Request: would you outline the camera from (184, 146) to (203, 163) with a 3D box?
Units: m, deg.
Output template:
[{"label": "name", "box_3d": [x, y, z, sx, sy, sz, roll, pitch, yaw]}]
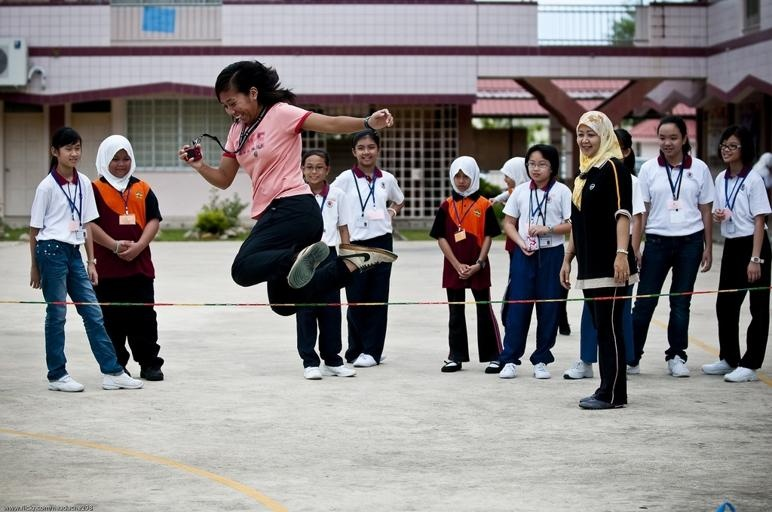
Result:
[{"label": "camera", "box_3d": [-1.889, -0.998, 12.274, 0.187, 0.141, 0.070, 4, 5, -12]}]

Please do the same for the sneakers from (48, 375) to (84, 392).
[{"label": "sneakers", "box_3d": [-3.234, 1.291, 12.747, 0.395, 0.126, 0.142, 0, 1, 5]}]

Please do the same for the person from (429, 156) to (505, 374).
[{"label": "person", "box_3d": [0.874, 0.084, 13.628, 0.777, 2.298, 0.925, 0, 13, -2]}]

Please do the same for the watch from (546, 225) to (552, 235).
[{"label": "watch", "box_3d": [1.738, -0.278, 13.331, 0.060, 0.062, 0.079, 4, -6, 10]}]

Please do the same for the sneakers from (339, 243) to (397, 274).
[{"label": "sneakers", "box_3d": [-0.238, 0.008, 12.618, 0.738, 0.241, 0.222, 5, -3, -19]}]

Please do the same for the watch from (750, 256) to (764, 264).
[{"label": "watch", "box_3d": [3.904, 0.039, 13.189, 0.112, 0.037, 0.073, 12, -1, 2]}]

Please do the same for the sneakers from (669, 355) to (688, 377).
[{"label": "sneakers", "box_3d": [3.104, 1.154, 13.280, 0.192, 0.204, 0.225, 0, 12, -1]}]

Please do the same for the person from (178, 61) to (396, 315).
[{"label": "person", "box_3d": [-1.051, -0.588, 12.226, 1.695, 2.549, 0.843, 3, 13, 9]}]

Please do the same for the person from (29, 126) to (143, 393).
[{"label": "person", "box_3d": [-3.165, 0.026, 12.789, 0.888, 2.600, 0.898, -3, 14, -16]}]

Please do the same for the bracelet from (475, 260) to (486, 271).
[{"label": "bracelet", "box_3d": [1.023, 0.088, 13.535, 0.064, 0.074, 0.109, -19, 12, -3]}]

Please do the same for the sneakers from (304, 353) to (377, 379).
[{"label": "sneakers", "box_3d": [-0.566, 1.198, 13.248, 0.553, 0.182, 0.176, -2, -3, 5]}]

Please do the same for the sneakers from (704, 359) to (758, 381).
[{"label": "sneakers", "box_3d": [3.598, 1.189, 13.197, 0.568, 0.200, 0.194, 3, 4, 22]}]

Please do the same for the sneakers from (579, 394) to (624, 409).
[{"label": "sneakers", "box_3d": [2.149, 1.426, 12.321, 0.482, 0.145, 0.143, 4, -2, -4]}]
